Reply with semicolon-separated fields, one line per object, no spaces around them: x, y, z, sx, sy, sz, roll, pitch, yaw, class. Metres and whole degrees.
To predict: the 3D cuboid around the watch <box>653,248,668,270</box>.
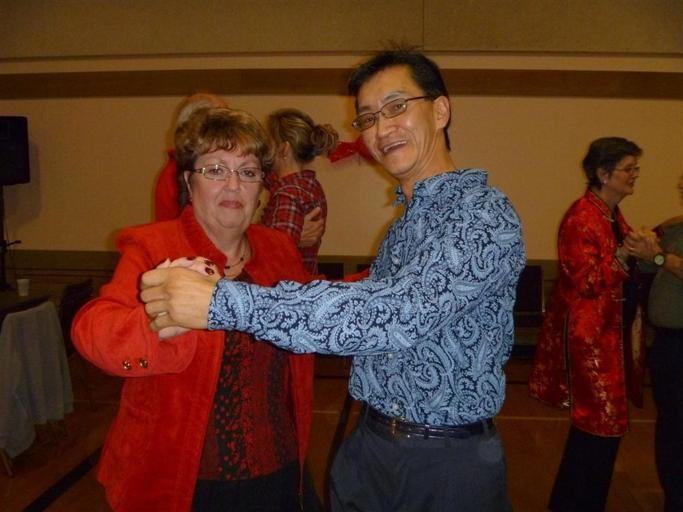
1.906;0.027;3.638;0.062;0.102;0.094;3;22;21;watch

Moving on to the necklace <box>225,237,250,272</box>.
-0.498;0.003;2.919;0.032;0.148;0.109;-10;47;-33;necklace
